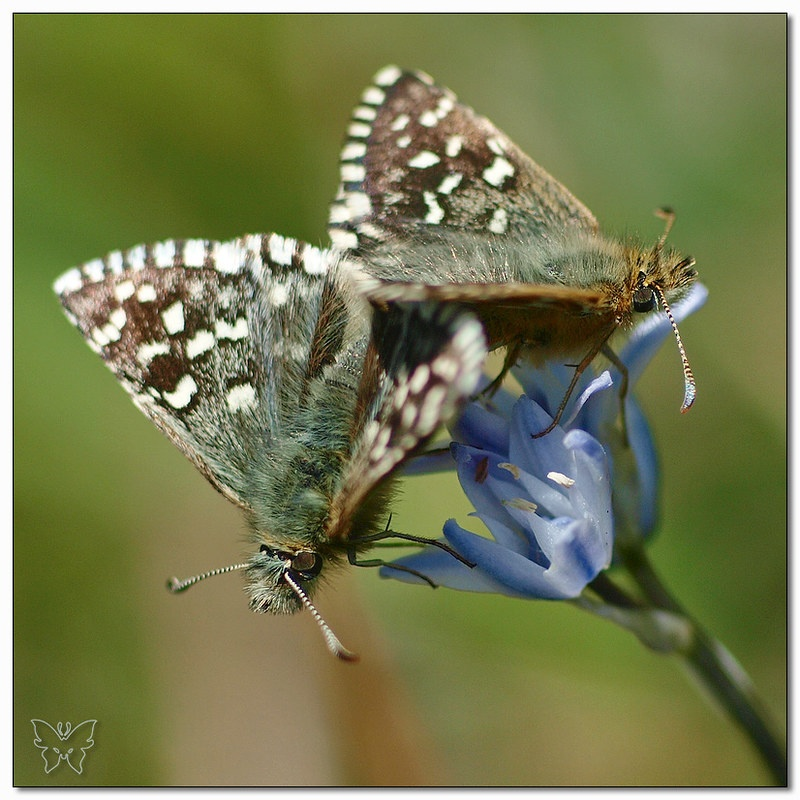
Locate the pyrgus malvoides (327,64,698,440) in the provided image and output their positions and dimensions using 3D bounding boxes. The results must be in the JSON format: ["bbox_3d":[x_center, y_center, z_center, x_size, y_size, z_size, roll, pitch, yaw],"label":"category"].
[{"bbox_3d":[0.202,-0.290,2.648,0.958,0.616,1.260,14,-2,19],"label":"pyrgus malvoides"}]

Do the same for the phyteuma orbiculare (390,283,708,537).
[{"bbox_3d":[0.347,-0.013,2.708,0.705,0.829,0.470,-1,16,-12],"label":"phyteuma orbiculare"}]

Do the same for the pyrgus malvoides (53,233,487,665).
[{"bbox_3d":[-0.224,0.070,2.538,0.999,0.585,0.738,1,5,28],"label":"pyrgus malvoides"}]
